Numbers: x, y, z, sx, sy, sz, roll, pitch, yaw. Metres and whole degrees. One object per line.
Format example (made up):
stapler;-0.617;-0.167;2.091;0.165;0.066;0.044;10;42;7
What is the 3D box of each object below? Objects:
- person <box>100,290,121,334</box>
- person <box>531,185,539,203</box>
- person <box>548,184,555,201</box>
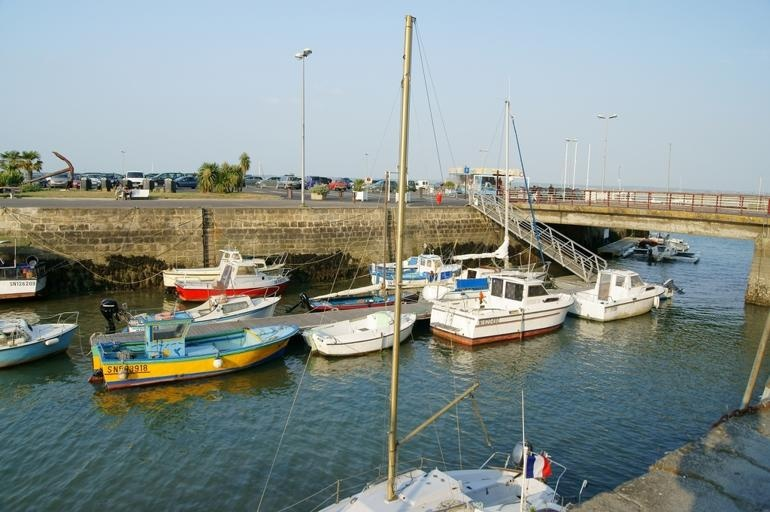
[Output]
person;-13.089;2.699;31.389;0.777;1.728;0.814;-21;40;-40
person;11.337;-4.669;49.800;0.555;1.370;0.751;8;-5;-44
person;12.398;-4.669;49.132;0.527;0.831;1.482;-3;9;14
